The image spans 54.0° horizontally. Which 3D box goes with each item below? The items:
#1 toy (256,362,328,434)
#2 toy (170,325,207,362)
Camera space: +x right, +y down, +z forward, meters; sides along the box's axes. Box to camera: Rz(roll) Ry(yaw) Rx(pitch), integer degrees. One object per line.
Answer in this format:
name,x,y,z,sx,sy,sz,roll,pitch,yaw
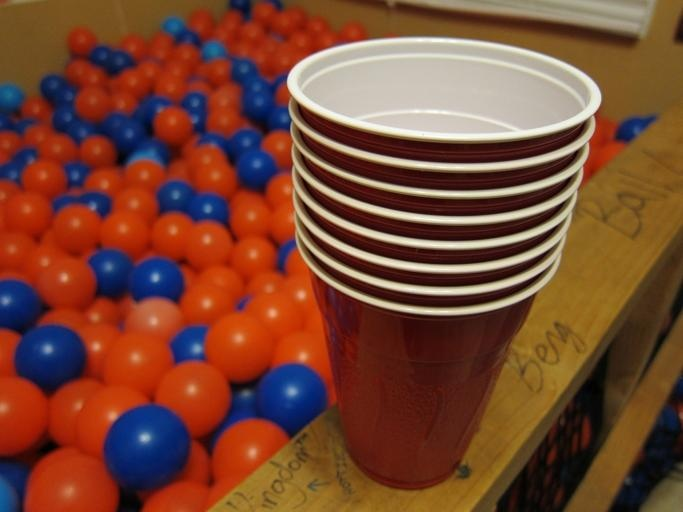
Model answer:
toy,-0.150,0.427,2.120,0.190,0.231,0.195,-32,61,-18
toy,-0.488,0.267,2.139,0.123,0.057,0.139,-10,49,-10
